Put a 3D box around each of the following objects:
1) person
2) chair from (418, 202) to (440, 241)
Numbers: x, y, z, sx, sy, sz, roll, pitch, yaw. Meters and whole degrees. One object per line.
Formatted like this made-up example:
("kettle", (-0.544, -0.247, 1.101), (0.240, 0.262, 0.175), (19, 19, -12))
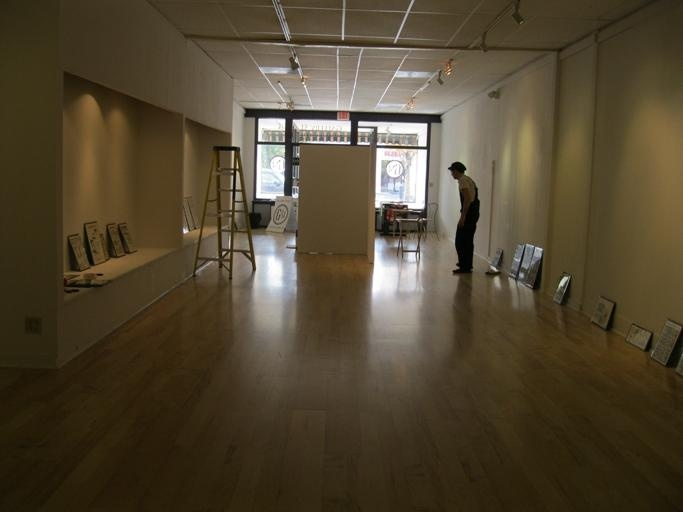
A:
("person", (2.361, -0.723, 8.766), (0.521, 2.114, 0.812), (3, 8, 15))
("chair", (2.911, -1.217, 14.795), (0.541, 1.006, 1.637), (3, 10, 12))
